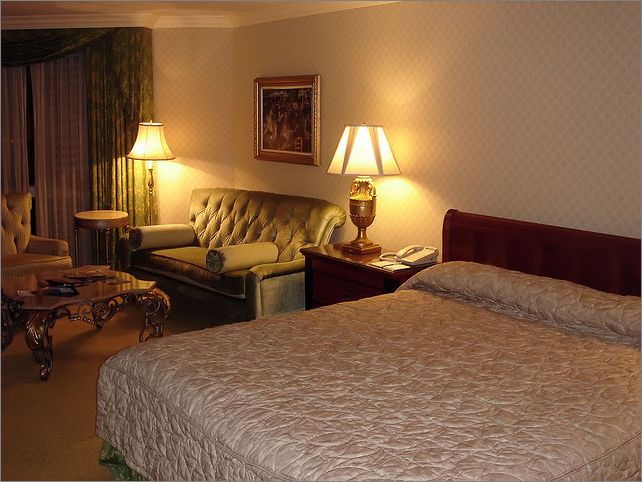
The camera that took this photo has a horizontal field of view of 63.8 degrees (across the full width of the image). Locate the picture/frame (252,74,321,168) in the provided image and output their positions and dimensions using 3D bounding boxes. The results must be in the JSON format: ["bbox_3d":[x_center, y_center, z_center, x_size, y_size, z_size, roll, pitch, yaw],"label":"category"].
[{"bbox_3d":[-0.392,-1.346,5.753,0.938,0.936,0.059,11,15,36],"label":"picture/frame"}]
